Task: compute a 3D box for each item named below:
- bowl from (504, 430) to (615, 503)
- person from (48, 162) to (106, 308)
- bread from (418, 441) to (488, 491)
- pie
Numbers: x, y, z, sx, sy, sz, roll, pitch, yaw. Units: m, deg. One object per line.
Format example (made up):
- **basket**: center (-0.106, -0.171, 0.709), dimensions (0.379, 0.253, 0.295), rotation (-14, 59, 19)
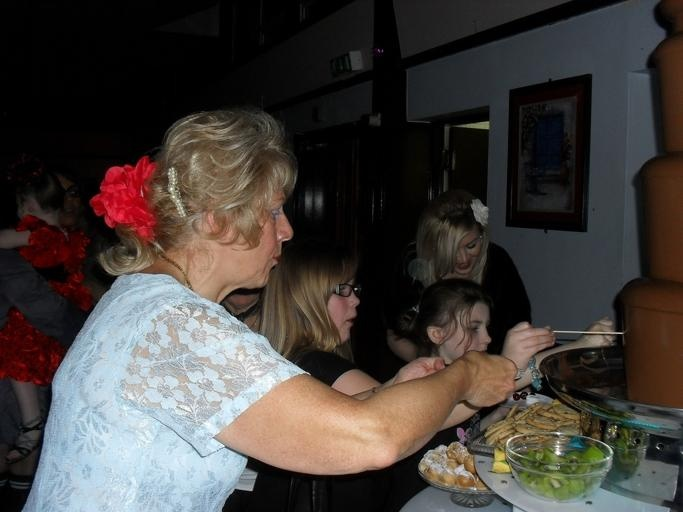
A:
- **bowl**: center (0.520, 0.510, 1.350), dimensions (0.246, 0.109, 0.250), rotation (-1, -2, 0)
- **person**: center (-1.641, -0.189, 3.367), dimensions (0.187, 0.720, 0.228), rotation (-17, 53, -43)
- **bread**: center (0.296, 0.563, 1.579), dimensions (0.171, 0.114, 0.153), rotation (1, 3, -20)
- **pie**: center (0.525, 0.466, 1.532), dimensions (0.223, 0.069, 0.221), rotation (-8, -1, 5)
